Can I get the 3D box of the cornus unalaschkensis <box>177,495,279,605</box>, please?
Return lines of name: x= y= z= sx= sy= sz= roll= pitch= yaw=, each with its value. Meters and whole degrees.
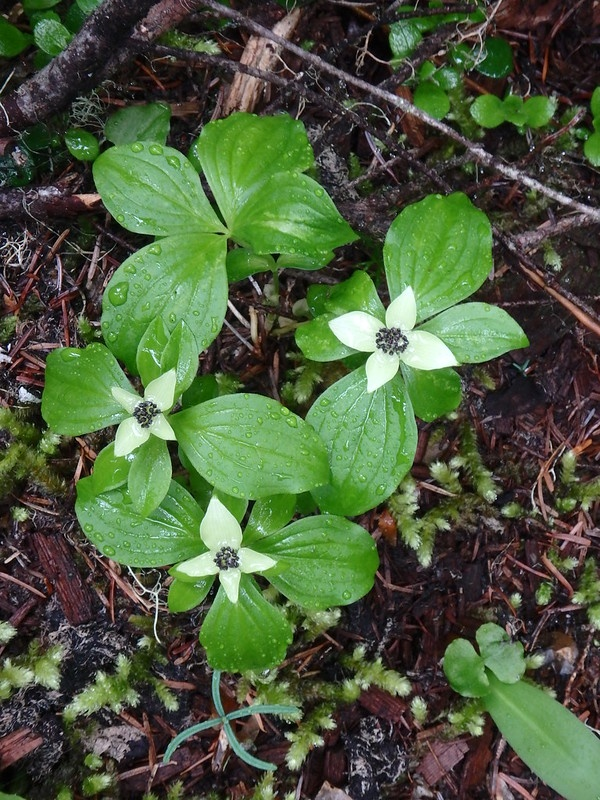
cornus unalaschkensis: x=-0.336 y=0.679 z=3.333 sx=0.444 sy=0.505 sz=0.675 roll=2 pitch=26 yaw=-3

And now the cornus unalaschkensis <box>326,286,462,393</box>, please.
cornus unalaschkensis: x=0.415 y=-0.270 z=3.130 sx=0.489 sy=0.257 sz=0.347 roll=-16 pitch=56 yaw=-8

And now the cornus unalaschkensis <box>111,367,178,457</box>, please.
cornus unalaschkensis: x=-0.684 y=0.063 z=3.057 sx=0.354 sy=0.106 sz=0.351 roll=35 pitch=97 yaw=3
